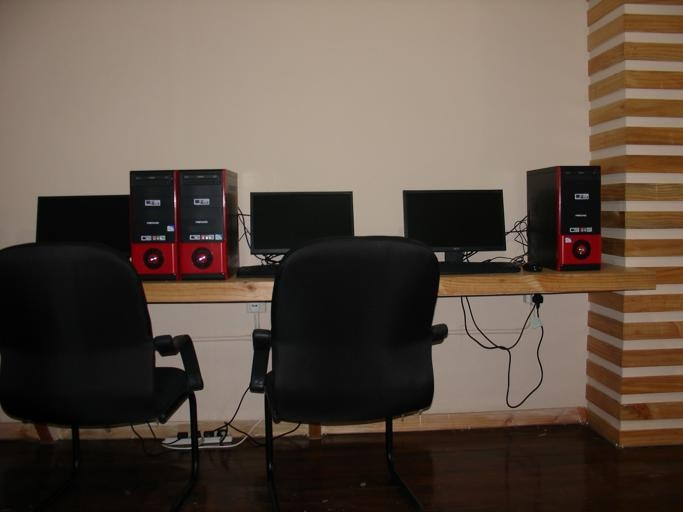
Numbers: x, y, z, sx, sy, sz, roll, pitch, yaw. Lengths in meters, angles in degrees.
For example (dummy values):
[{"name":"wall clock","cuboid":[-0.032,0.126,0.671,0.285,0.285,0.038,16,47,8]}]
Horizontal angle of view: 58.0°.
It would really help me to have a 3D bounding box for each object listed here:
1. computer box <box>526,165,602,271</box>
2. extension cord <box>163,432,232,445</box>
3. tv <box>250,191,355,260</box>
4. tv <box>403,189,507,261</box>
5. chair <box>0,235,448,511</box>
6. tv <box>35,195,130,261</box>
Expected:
[{"name":"computer box","cuboid":[1.278,-0.222,3.568,0.423,0.583,0.287,1,7,28]},{"name":"extension cord","cuboid":[-0.857,1.090,3.681,0.331,0.069,0.189,0,-1,0]},{"name":"tv","cuboid":[-0.228,-0.198,3.640,0.634,0.357,0.057,0,3,8]},{"name":"tv","cuboid":[0.657,-0.193,3.600,0.429,0.294,0.113,0,-5,-2]},{"name":"chair","cuboid":[-0.538,0.625,3.200,2.018,1.323,0.889,0,6,-3]},{"name":"tv","cuboid":[-1.528,-0.175,3.640,0.552,0.377,0.045,-1,-5,-2]}]
